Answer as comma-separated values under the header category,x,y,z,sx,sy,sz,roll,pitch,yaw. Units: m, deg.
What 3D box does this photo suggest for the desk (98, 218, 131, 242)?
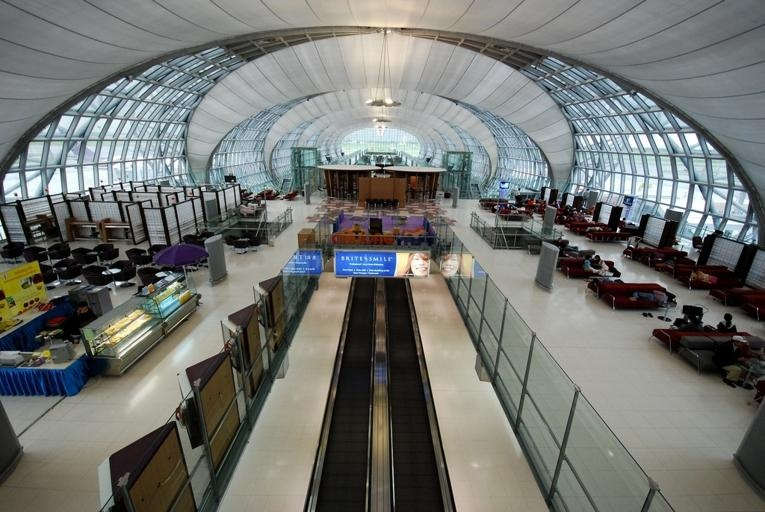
category,x,y,z,sx,sy,sz,roll,pitch,yaw
desk,-15.199,-1.413,23.425,1.436,0.949,0.670,3,40,-6

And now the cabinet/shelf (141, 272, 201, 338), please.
category,x,y,z,sx,sy,sz,roll,pitch,yaw
cabinet/shelf,-8.514,1.800,16.299,1.456,1.784,2.902,7,16,-4

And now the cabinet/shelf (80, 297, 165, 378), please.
category,x,y,z,sx,sy,sz,roll,pitch,yaw
cabinet/shelf,-9.111,2.934,14.367,1.034,1.427,2.347,5,28,5

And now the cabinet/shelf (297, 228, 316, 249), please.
category,x,y,z,sx,sy,sz,roll,pitch,yaw
cabinet/shelf,-4.035,-0.865,21.930,1.200,1.012,0.594,11,43,6

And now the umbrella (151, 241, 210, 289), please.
category,x,y,z,sx,sy,sz,roll,pitch,yaw
umbrella,-8.973,0.180,18.524,2.195,1.413,2.095,-18,34,-36

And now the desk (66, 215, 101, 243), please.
category,x,y,z,sx,sy,sz,roll,pitch,yaw
desk,-17.162,-1.501,23.653,1.605,1.150,0.774,3,39,-8

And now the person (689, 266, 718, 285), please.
category,x,y,z,sx,sy,sz,roll,pitch,yaw
person,14.981,0.775,19.388,1.002,0.273,0.966,-4,30,3

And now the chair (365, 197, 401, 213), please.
category,x,y,z,sx,sy,sz,roll,pitch,yaw
chair,-0.059,-4.244,34.708,3.028,0.869,1.818,-3,12,-3

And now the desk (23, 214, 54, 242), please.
category,x,y,z,sx,sy,sz,roll,pitch,yaw
desk,-18.919,-1.515,22.595,0.790,1.168,1.340,0,21,-5

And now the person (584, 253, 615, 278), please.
category,x,y,z,sx,sy,sz,roll,pitch,yaw
person,10.572,0.543,20.107,1.631,0.659,1.052,1,20,4
